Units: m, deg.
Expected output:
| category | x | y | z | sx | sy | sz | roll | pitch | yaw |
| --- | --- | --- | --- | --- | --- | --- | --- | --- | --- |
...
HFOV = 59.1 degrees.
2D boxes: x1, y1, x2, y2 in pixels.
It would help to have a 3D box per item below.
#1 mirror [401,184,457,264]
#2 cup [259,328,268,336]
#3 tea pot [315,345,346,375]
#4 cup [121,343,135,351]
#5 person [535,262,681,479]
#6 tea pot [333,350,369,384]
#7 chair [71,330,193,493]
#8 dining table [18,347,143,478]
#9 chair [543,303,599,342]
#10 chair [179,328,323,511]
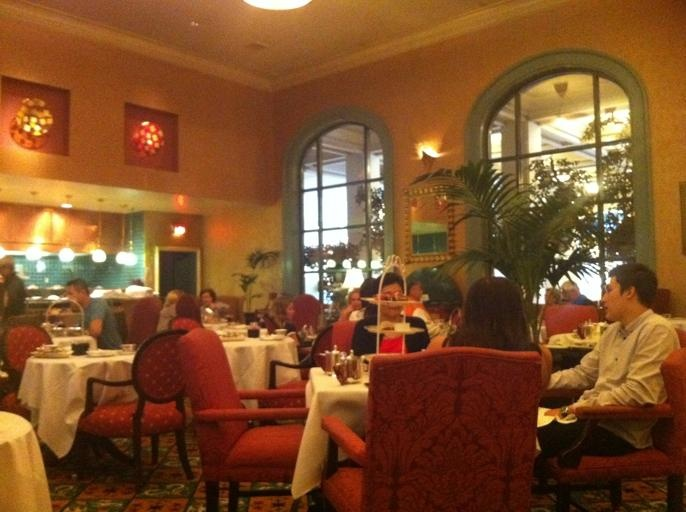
| category | x | y | z | sx | sy | sz | roll | pitch | yaw |
| --- | --- | --- | --- | --- | --- | --- | --- | --- | --- |
| mirror | 1.352 | -0.478 | 9.371 | 1.223 | 1.541 | 0.166 | -3 | -4 | 37 |
| cup | -0.840 | 0.826 | 6.468 | 0.096 | 0.096 | 0.090 | 0 | -6 | 0 |
| tea pot | -0.083 | 0.669 | 3.872 | 0.145 | 0.192 | 0.256 | 3 | -4 | -36 |
| cup | -1.805 | 0.772 | 5.101 | 0.085 | 0.061 | 0.116 | -1 | -8 | 1 |
| person | 1.829 | 0.685 | 3.908 | 1.042 | 1.373 | 1.057 | 1 | -5 | 8 |
| tea pot | 0.034 | 0.669 | 3.627 | 0.199 | 0.169 | 0.155 | 4 | -6 | -28 |
| chair | -1.531 | 1.118 | 4.558 | 0.821 | 1.101 | 0.451 | -2 | -2 | 8 |
| dining table | -2.045 | 1.191 | 4.660 | 0.806 | 0.624 | 0.816 | 0 | -1 | 5 |
| chair | 2.378 | 0.703 | 6.211 | 0.396 | 0.523 | 0.420 | 2 | -9 | -12 |
| chair | -0.595 | 0.920 | 4.074 | 1.020 | 1.487 | 0.982 | 0 | -2 | -5 |
